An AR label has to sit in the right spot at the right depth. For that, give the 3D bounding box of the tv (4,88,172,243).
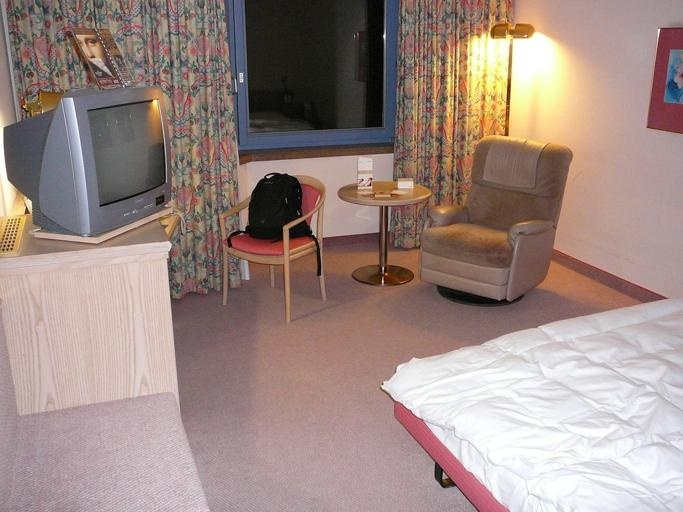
[{"bbox_3d":[-1.153,-0.453,2.762,0.767,0.824,0.826,10,19,8],"label":"tv"}]

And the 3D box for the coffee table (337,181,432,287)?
[{"bbox_3d":[0.374,-0.205,4.681,0.831,0.780,0.828,4,15,6],"label":"coffee table"}]

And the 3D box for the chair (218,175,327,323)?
[{"bbox_3d":[-0.537,-0.089,4.221,0.771,1.066,0.724,15,21,42],"label":"chair"}]

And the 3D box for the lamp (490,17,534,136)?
[{"bbox_3d":[1.657,-1.736,5.077,0.401,1.110,0.613,6,21,19],"label":"lamp"}]

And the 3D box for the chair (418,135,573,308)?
[{"bbox_3d":[1.254,-0.341,4.317,0.923,1.298,1.172,12,16,33],"label":"chair"}]

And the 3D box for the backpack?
[{"bbox_3d":[-0.492,-0.382,4.046,0.587,0.628,0.344,-1,-4,28],"label":"backpack"}]
